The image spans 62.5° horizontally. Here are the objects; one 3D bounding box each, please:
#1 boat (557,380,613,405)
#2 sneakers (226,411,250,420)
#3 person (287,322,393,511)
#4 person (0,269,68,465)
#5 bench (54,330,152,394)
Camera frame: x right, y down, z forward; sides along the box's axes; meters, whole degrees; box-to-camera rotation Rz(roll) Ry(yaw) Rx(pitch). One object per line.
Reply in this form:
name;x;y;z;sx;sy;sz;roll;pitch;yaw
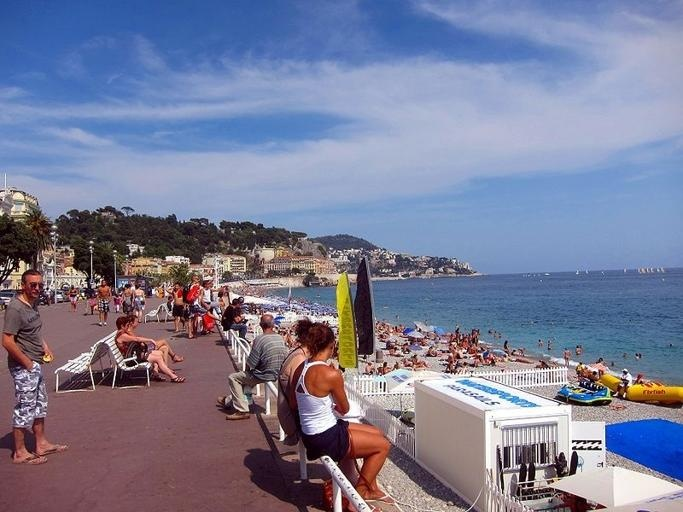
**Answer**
boat;7.148;4.076;16.712;1.233;0.342;1.244;-1;0;-12
sneakers;-1.580;2.411;8.536;0.324;0.147;0.130;6;-8;-7
person;-0.021;1.726;5.900;0.983;1.499;0.667;-2;1;-7
person;-3.803;1.315;6.879;0.574;2.406;1.094;-2;1;-27
bench;-4.773;1.951;11.142;1.637;1.094;3.205;-2;0;-27
